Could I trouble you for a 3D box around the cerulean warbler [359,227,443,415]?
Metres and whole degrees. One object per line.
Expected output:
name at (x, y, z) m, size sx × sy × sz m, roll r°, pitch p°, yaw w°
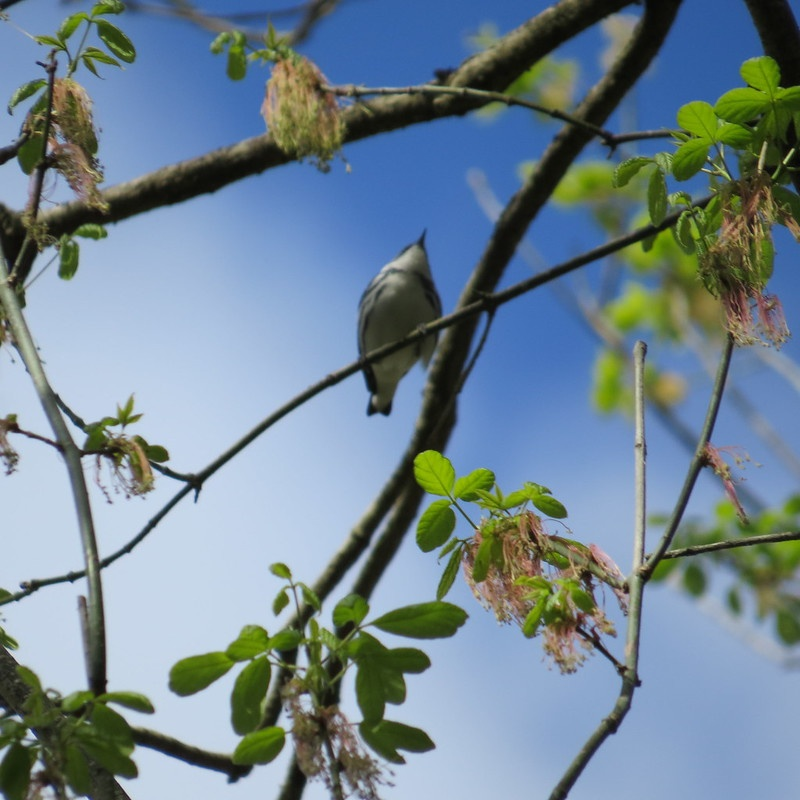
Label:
cerulean warbler at (-0.016, -0.358, 6.624) m, size 0.298 × 0.372 × 0.951 m, roll 15°, pitch -75°, yaw -4°
